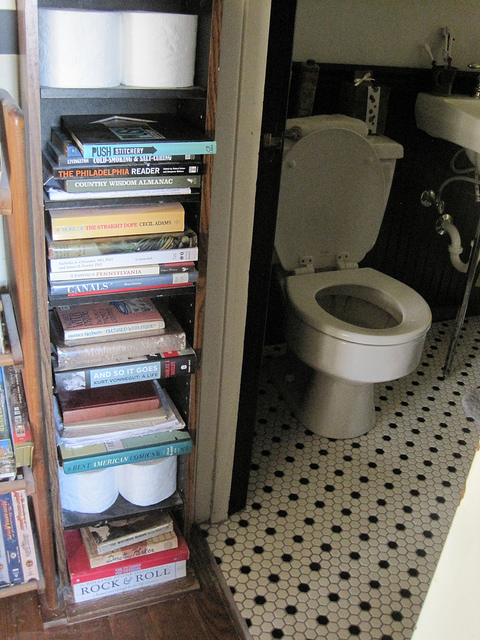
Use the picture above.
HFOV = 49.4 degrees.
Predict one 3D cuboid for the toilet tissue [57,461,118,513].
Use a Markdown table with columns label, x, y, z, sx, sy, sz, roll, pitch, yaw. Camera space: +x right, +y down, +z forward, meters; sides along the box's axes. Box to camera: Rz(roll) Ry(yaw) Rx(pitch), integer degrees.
| label | x | y | z | sx | sy | sz | roll | pitch | yaw |
| --- | --- | --- | --- | --- | --- | --- | --- | --- | --- |
| toilet tissue | -0.306 | 0.322 | 1.026 | 0.097 | 0.102 | 0.118 | -4 | 63 | 0 |

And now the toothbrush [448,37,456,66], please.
| label | x | y | z | sx | sy | sz | roll | pitch | yaw |
| --- | --- | --- | --- | --- | --- | --- | --- | --- | --- |
| toothbrush | 0.721 | -0.916 | 1.791 | 0.022 | 0.082 | 0.162 | 13 | 31 | 15 |

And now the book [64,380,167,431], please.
| label | x | y | z | sx | sy | sz | roll | pitch | yaw |
| --- | --- | --- | --- | --- | --- | --- | --- | --- | --- |
| book | -0.251 | 0.187 | 1.038 | 0.199 | 0.047 | 0.222 | -4 | 14 | -13 |

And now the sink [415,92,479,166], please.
| label | x | y | z | sx | sy | sz | roll | pitch | yaw |
| --- | --- | --- | --- | --- | --- | --- | --- | --- | --- |
| sink | 0.708 | -0.618 | 1.764 | 0.176 | 0.097 | 0.248 | -8 | 43 | -26 |

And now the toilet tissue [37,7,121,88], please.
| label | x | y | z | sx | sy | sz | roll | pitch | yaw |
| --- | --- | --- | --- | --- | --- | --- | --- | --- | --- |
| toilet tissue | -0.219 | -0.356 | 0.717 | 0.098 | 0.081 | 0.105 | 2 | 21 | -1 |

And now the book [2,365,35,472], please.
| label | x | y | z | sx | sy | sz | roll | pitch | yaw |
| --- | --- | --- | --- | --- | --- | --- | --- | --- | --- |
| book | -0.365 | 0.170 | 0.861 | 0.032 | 0.054 | 0.250 | 12 | 48 | -42 |

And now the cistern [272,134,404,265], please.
| label | x | y | z | sx | sy | sz | roll | pitch | yaw |
| --- | --- | --- | --- | --- | --- | --- | --- | --- | --- |
| cistern | 0.400 | -0.447 | 1.855 | 0.432 | 0.461 | 0.378 | -7 | 25 | -18 |

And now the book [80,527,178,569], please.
| label | x | y | z | sx | sy | sz | roll | pitch | yaw |
| --- | --- | --- | --- | --- | --- | --- | --- | --- | --- |
| book | -0.226 | 0.451 | 1.064 | 0.199 | 0.041 | 0.097 | -1 | 30 | -11 |

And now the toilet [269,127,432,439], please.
| label | x | y | z | sx | sy | sz | roll | pitch | yaw |
| --- | --- | --- | --- | --- | --- | --- | --- | --- | --- |
| toilet | 0.306 | -0.091 | 1.574 | 0.373 | 0.810 | 0.638 | -5 | 25 | -17 |

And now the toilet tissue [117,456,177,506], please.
| label | x | y | z | sx | sy | sz | roll | pitch | yaw |
| --- | --- | --- | --- | --- | --- | --- | --- | --- | --- |
| toilet tissue | -0.182 | 0.307 | 1.021 | 0.100 | 0.078 | 0.107 | -5 | 27 | -1 |
